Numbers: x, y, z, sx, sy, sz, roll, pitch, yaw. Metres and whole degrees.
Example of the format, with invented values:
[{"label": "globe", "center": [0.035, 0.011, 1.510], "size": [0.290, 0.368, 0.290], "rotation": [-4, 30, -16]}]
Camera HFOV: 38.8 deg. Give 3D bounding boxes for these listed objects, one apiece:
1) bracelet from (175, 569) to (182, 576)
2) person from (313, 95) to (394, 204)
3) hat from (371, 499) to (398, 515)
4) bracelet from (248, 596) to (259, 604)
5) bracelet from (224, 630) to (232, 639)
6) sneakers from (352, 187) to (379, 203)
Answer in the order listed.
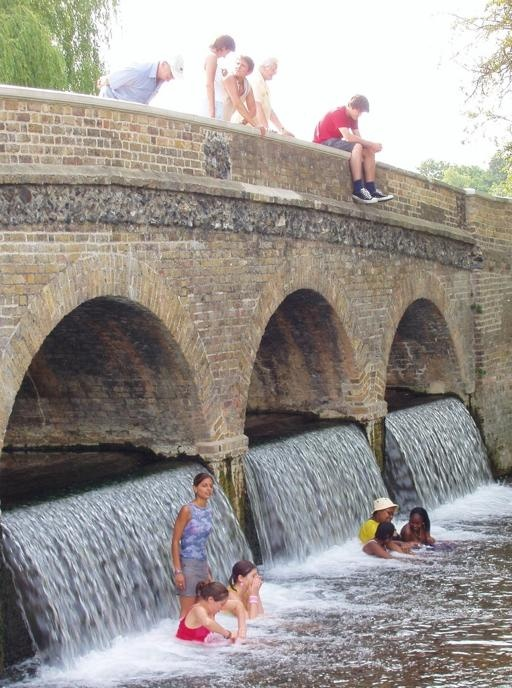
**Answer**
[{"label": "bracelet", "center": [-0.569, 1.678, 5.366], "size": [0.045, 0.049, 0.041], "rotation": [2, -4, -9]}, {"label": "person", "center": [1.361, -2.670, 10.155], "size": [0.971, 1.344, 0.721], "rotation": [0, -4, 9]}, {"label": "hat", "center": [1.521, 1.848, 8.463], "size": [0.262, 0.146, 0.220], "rotation": [-9, 6, -37]}, {"label": "bracelet", "center": [-0.022, 2.027, 5.777], "size": [0.063, 0.057, 0.063], "rotation": [-2, 0, -2]}, {"label": "bracelet", "center": [-0.193, 2.033, 5.107], "size": [0.062, 0.018, 0.066], "rotation": [-1, 9, -18]}, {"label": "sneakers", "center": [1.518, -2.056, 10.178], "size": [0.447, 0.219, 0.156], "rotation": [-2, 17, -8]}]
